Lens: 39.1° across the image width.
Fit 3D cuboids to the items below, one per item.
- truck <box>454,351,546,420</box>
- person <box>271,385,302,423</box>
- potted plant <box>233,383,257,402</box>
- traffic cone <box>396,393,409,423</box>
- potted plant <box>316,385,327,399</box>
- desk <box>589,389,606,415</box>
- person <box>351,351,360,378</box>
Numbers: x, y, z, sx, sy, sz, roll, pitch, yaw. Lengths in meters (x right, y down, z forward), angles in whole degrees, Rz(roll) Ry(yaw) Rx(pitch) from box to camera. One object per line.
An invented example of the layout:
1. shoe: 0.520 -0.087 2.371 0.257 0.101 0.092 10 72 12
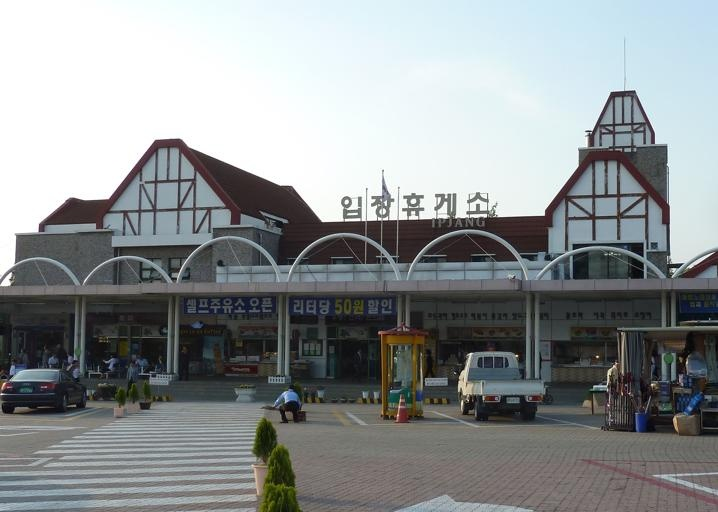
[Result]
1. truck: 4.499 4.327 33.833 1.680 1.475 3.063 1 -4 -6
2. person: -2.309 4.839 32.825 0.739 1.138 1.284 1 -9 -6
3. potted plant: -4.772 5.621 41.267 0.793 0.497 0.615 -2 -2 22
4. traffic cone: 1.378 5.055 33.066 0.664 0.925 0.679 -1 -12 1
5. potted plant: -1.615 5.636 41.861 0.426 0.626 0.425 -1 -14 -3
6. desk: 8.806 5.390 37.396 0.512 0.897 3.746 -2 -9 13
7. person: -0.120 5.271 49.624 0.589 1.262 0.289 -8 -12 43
